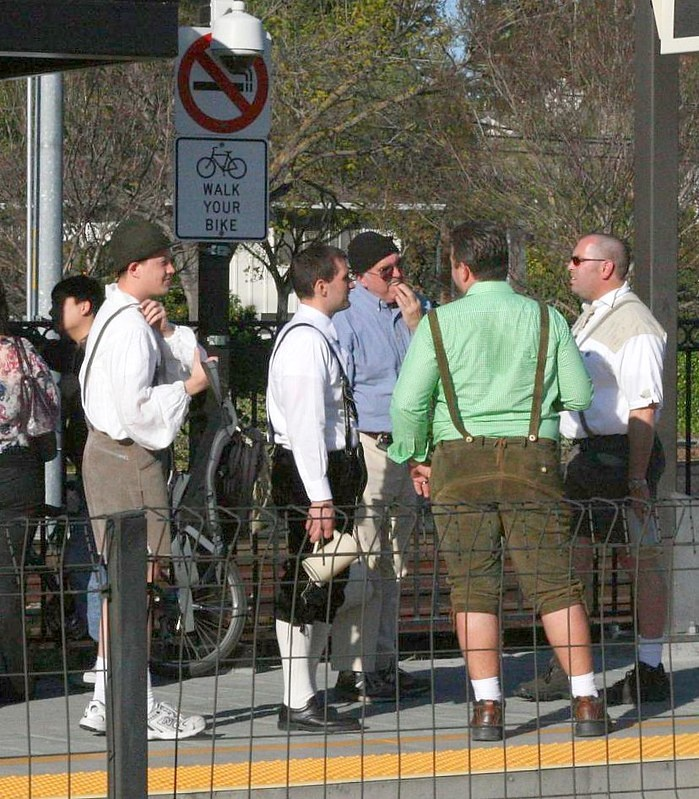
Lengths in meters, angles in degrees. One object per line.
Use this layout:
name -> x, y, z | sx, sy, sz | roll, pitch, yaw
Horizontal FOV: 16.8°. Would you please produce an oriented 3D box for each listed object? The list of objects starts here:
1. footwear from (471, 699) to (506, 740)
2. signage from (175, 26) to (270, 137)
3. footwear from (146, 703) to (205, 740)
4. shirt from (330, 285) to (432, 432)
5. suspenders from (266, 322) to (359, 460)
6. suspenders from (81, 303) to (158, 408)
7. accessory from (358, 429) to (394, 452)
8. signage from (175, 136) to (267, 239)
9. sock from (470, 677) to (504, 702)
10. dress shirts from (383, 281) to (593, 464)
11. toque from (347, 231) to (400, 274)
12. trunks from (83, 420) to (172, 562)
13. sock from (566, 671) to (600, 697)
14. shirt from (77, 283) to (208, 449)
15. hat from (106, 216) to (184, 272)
footwear -> 0.611, 1.450, 10.776 | 0.152, 0.215, 0.218 | 1, -6, 0
signage -> -0.660, -1.629, 12.056 | 0.552, 0.612, 0.081 | 0, -2, -9
footwear -> -0.798, 1.484, 11.001 | 0.261, 0.170, 0.301 | -5, -2, -3
shirt -> 0.152, -0.186, 11.652 | 0.725, 0.653, 0.237 | 1, -4, -44
suspenders -> -0.076, -0.050, 11.258 | 0.376, 0.675, 0.155 | -3, 11, 8
suspenders -> -1.118, -0.234, 11.087 | 0.266, 0.478, 0.109 | 16, 1, -35
accessory -> 0.151, 0.197, 11.887 | 0.120, 0.045, 0.088 | 16, 12, 32
signage -> -0.671, -1.094, 12.089 | 0.509, 0.594, 0.062 | 0, 4, 0
sock -> 0.636, 1.317, 10.882 | 0.120, 0.117, 0.114 | -1, -5, -10
dress shirts -> 0.651, -0.147, 11.146 | 0.989, 0.841, 0.446 | -4, 21, -4
toque -> 0.123, -0.752, 12.226 | 0.189, 0.201, 0.251 | -18, -12, 11
trunks -> -1.110, 0.457, 11.244 | 0.366, 0.627, 0.432 | 6, -22, -28
sock -> 1.079, 1.298, 10.831 | 0.121, 0.155, 0.147 | -5, 6, 1
shirt -> -1.008, -0.189, 11.256 | 0.560, 0.700, 0.884 | -1, 15, -4
hat -> -0.997, -0.743, 11.207 | 0.313, 0.274, 0.250 | -5, -2, 7
